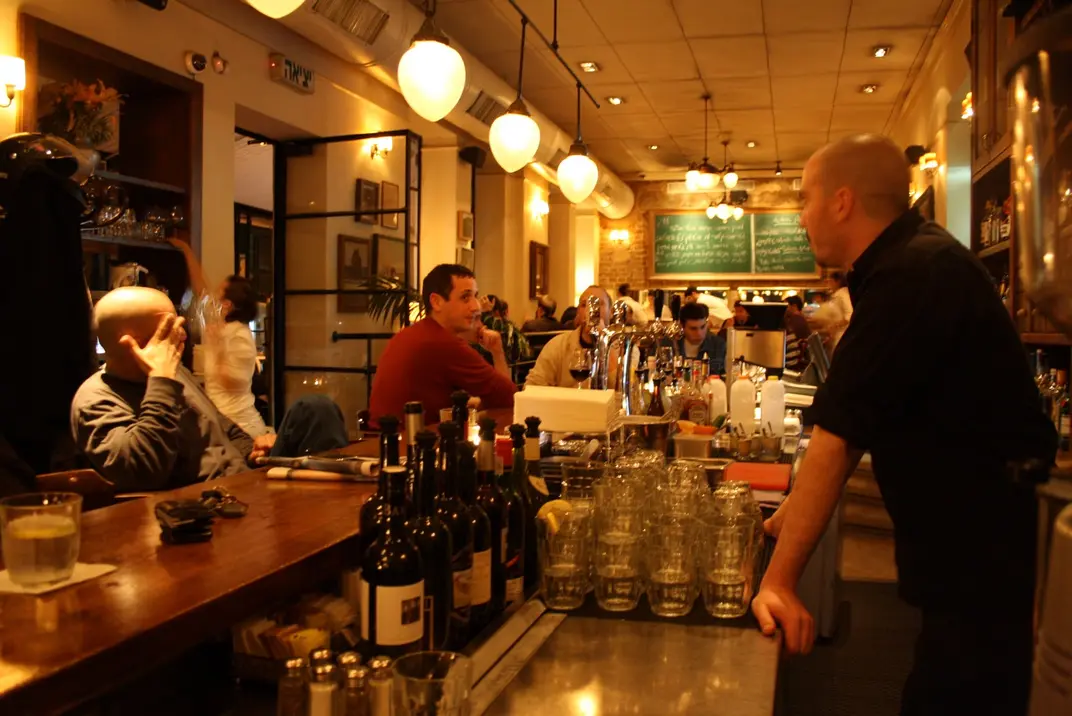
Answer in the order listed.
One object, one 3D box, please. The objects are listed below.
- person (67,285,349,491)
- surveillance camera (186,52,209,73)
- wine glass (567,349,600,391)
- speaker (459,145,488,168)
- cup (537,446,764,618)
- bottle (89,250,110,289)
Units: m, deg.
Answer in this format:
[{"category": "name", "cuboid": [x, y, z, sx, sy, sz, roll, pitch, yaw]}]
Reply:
[{"category": "person", "cuboid": [-1.181, 0.161, 3.232, 0.986, 0.732, 0.638, 2, 20, -7]}, {"category": "surveillance camera", "cuboid": [-2.197, -1.901, 5.552, 0.108, 0.127, 0.128, 2, -16, 10]}, {"category": "wine glass", "cuboid": [0.200, 0.053, 3.379, 0.148, 0.233, 0.150, 1, -12, 2]}, {"category": "speaker", "cuboid": [-0.649, -2.100, 9.025, 0.258, 0.244, 0.350, -4, 5, 10]}, {"category": "cup", "cuboid": [0.297, 0.433, 2.139, 0.499, 0.211, 0.333, 0, 3, 12]}, {"category": "bottle", "cuboid": [-2.634, -0.522, 5.176, 0.069, 0.236, 0.241, -1, 2, -2]}]
